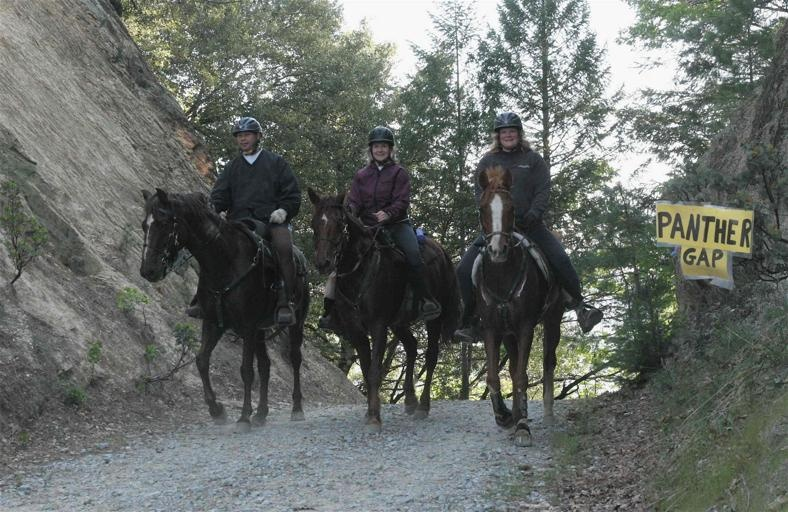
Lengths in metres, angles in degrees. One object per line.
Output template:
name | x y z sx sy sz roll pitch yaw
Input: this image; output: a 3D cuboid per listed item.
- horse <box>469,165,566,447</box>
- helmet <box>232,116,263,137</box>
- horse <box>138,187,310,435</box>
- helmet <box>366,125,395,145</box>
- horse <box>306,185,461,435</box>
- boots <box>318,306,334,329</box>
horse | 2.306 0.975 16.956 1.408 5.208 2.942 -4 -10 27
helmet | -2.990 -2.732 18.196 0.463 0.341 0.655 -3 -9 8
horse | -3.213 1.100 17.299 1.240 4.428 3.996 -5 -10 32
helmet | -0.250 -2.565 18.101 0.440 0.305 0.591 1 3 1
horse | -0.213 1.119 17.773 1.606 4.453 3.964 -4 -10 26
boots | -1.511 1.423 18.789 0.199 0.413 0.582 3 -28 0
